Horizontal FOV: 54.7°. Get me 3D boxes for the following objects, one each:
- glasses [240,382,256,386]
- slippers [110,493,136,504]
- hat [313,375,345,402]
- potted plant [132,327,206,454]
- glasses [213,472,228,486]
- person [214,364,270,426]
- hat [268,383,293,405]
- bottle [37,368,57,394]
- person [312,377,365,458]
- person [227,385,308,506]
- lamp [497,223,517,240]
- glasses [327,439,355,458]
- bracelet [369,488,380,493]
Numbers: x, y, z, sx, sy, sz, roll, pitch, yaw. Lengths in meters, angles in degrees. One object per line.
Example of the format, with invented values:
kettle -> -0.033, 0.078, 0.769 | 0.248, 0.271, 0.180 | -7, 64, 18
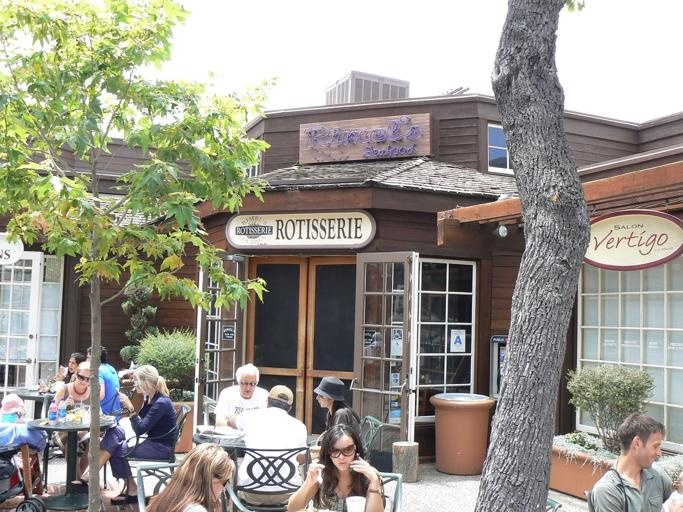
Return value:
glasses -> -1.034, 1.456, 7.465 | 0.173, 0.042, 0.084 | 9, -10, -40
slippers -> -2.518, 2.830, 7.636 | 0.237, 0.087, 0.133 | 6, -7, -9
hat -> -0.140, 1.445, 6.887 | 0.347, 0.187, 0.305 | 13, 6, 11
potted plant -> -2.830, 2.140, 10.939 | 1.498, 1.956, 1.715 | -2, -2, -2
glasses -> -0.790, 1.479, 4.324 | 0.059, 0.083, 0.084 | 19, -30, 18
person -> -1.161, 1.780, 7.665 | 0.663, 0.926, 0.502 | 8, -10, -27
hat -> -0.683, 1.532, 7.400 | 0.208, 0.167, 0.298 | 10, -1, -12
bottle -> -4.224, 1.854, 9.513 | 0.367, 0.383, 0.221 | 1, -5, 39
person -> -0.071, 1.677, 6.857 | 0.536, 0.767, 0.530 | -1, -6, -11
person -> -0.716, 1.932, 6.403 | 0.710, 1.087, 0.860 | 9, -14, -3
lamp -> 2.257, -0.334, 8.966 | 0.230, 0.239, 0.266 | 3, -1, 4
glasses -> 0.007, 1.504, 5.067 | 0.189, 0.113, 0.069 | 3, -7, -1
bracelet -> 0.257, 1.773, 4.971 | 0.087, 0.030, 0.058 | 3, -8, -3
